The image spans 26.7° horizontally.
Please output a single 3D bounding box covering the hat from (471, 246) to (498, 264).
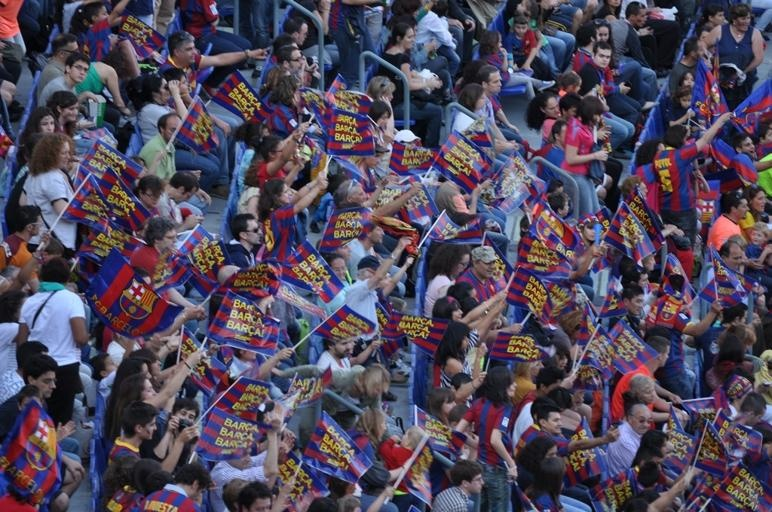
[{"bbox_3d":[1.257,0.008,20.920,0.243,0.196,0.140,2,97,21],"label":"hat"}]

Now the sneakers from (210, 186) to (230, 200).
[{"bbox_3d":[-2.259,-0.868,22.625,0.321,0.146,0.118,-5,49,-3],"label":"sneakers"}]

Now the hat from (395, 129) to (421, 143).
[{"bbox_3d":[0.273,-1.599,22.104,0.247,0.192,0.124,2,98,27],"label":"hat"}]
